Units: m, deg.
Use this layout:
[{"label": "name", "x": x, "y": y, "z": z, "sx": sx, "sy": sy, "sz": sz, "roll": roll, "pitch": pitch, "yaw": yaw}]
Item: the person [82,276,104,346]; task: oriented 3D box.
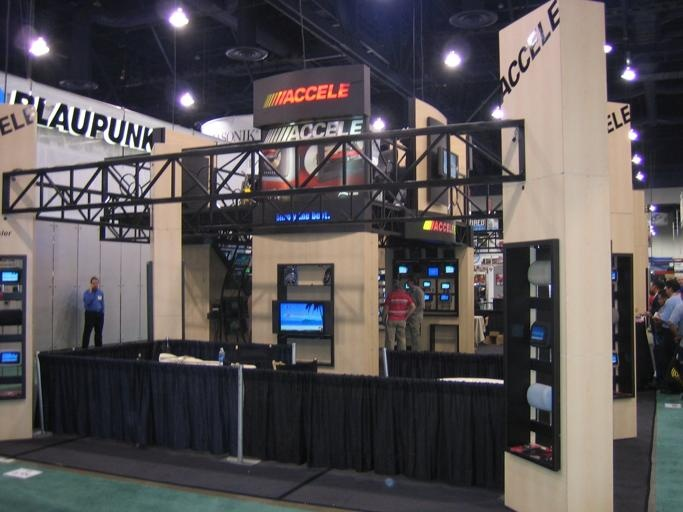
[{"label": "person", "x": -5.959, "y": 1.388, "z": 19.160, "sx": 0.478, "sy": 1.641, "sz": 1.027, "roll": 1, "pitch": -4, "yaw": -18}]

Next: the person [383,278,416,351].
[{"label": "person", "x": 1.354, "y": 1.420, "z": 19.042, "sx": 0.644, "sy": 1.634, "sz": 0.909, "roll": -1, "pitch": -4, "yaw": 22}]
